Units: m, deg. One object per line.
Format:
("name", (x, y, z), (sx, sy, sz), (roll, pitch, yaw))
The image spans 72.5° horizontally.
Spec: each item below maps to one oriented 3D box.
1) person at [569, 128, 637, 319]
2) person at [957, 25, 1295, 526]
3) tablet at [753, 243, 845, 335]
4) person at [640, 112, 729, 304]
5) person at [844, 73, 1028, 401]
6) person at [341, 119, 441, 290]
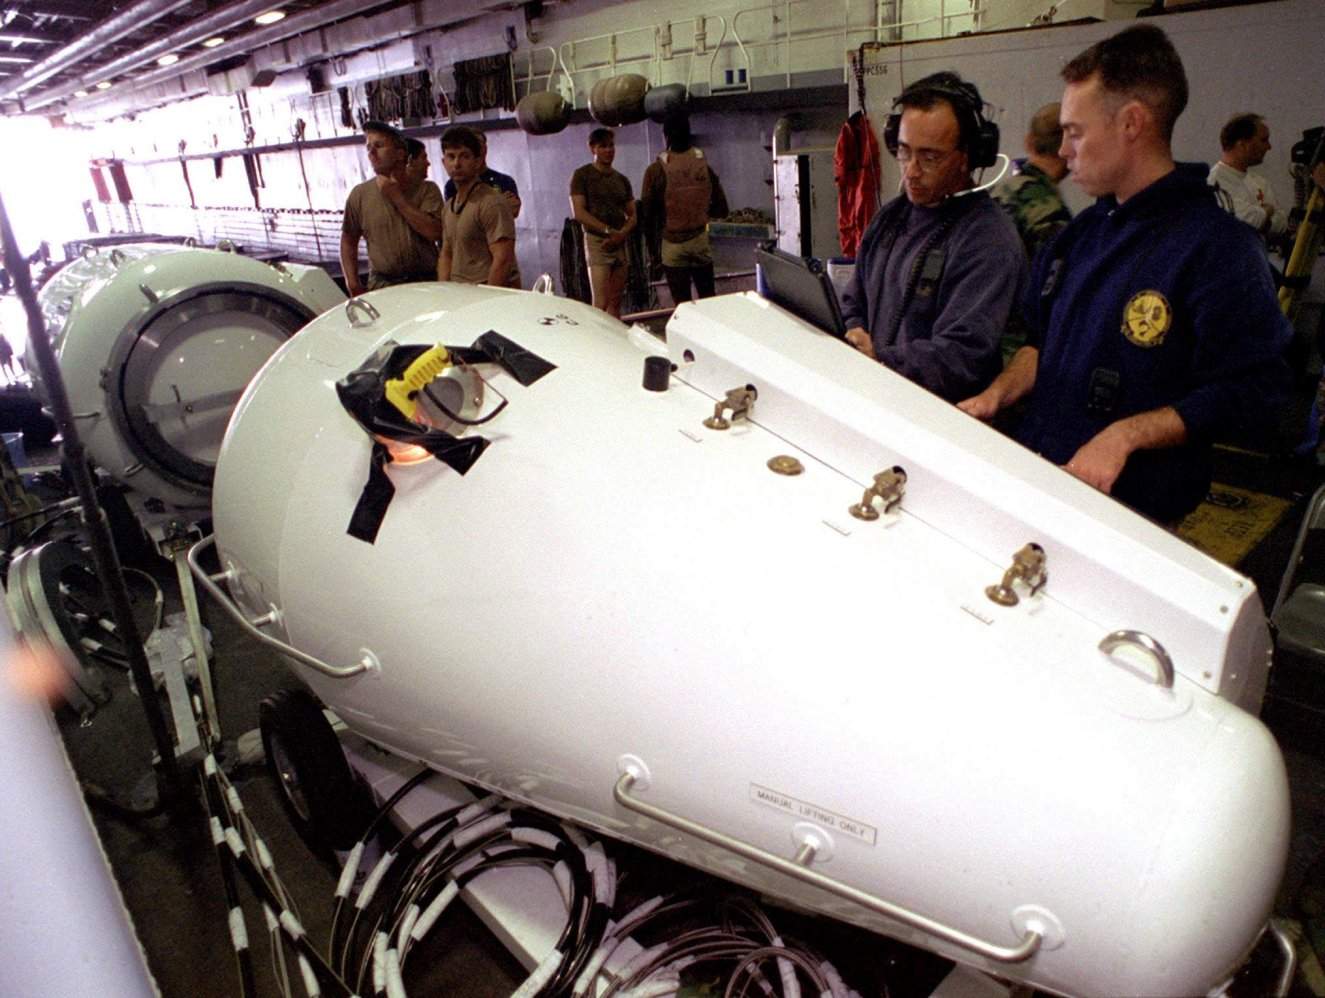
("person", (-0.365, -1.769, 5.844), (0.396, 1.176, 0.469), (-4, 20, -1))
("person", (1.000, -0.510, 2.038), (0.474, 1.015, 0.715), (-18, 27, -17))
("tablet", (0.257, -0.432, 1.838), (0.100, 0.166, 0.327), (-9, 22, -15))
("person", (0.088, -1.865, 5.849), (0.483, 1.134, 0.325), (-4, 20, -1))
("person", (0.635, -0.641, 2.294), (0.443, 0.773, 0.528), (-18, 29, -26))
("person", (-1.398, -1.497, 4.633), (0.527, 0.809, 0.506), (14, 27, 39))
